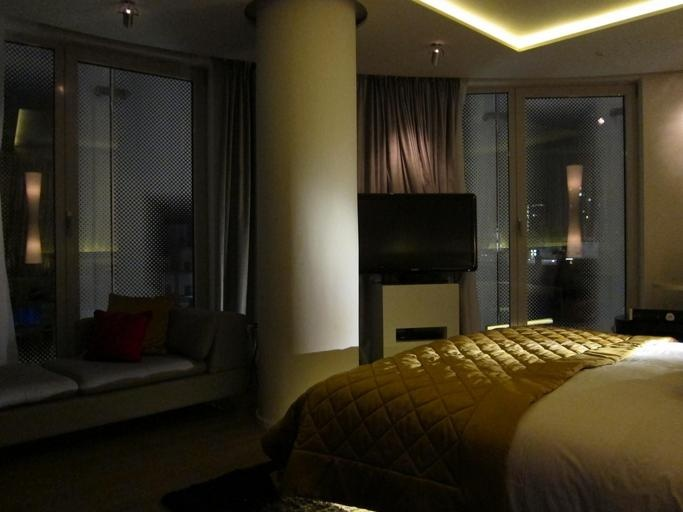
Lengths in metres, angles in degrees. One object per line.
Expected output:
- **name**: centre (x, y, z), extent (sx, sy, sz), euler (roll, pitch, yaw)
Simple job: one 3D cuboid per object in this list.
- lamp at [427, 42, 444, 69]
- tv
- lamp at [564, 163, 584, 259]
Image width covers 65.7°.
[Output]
- **lamp**: centre (0.776, -1.677, 4.435), extent (0.156, 0.230, 0.155), euler (7, 8, 35)
- **tv**: centre (0.668, -0.195, 4.782), extent (0.790, 0.577, 0.109), euler (0, -1, -6)
- **lamp**: centre (2.334, -0.454, 5.285), extent (0.150, 0.896, 0.263), euler (0, 13, 24)
